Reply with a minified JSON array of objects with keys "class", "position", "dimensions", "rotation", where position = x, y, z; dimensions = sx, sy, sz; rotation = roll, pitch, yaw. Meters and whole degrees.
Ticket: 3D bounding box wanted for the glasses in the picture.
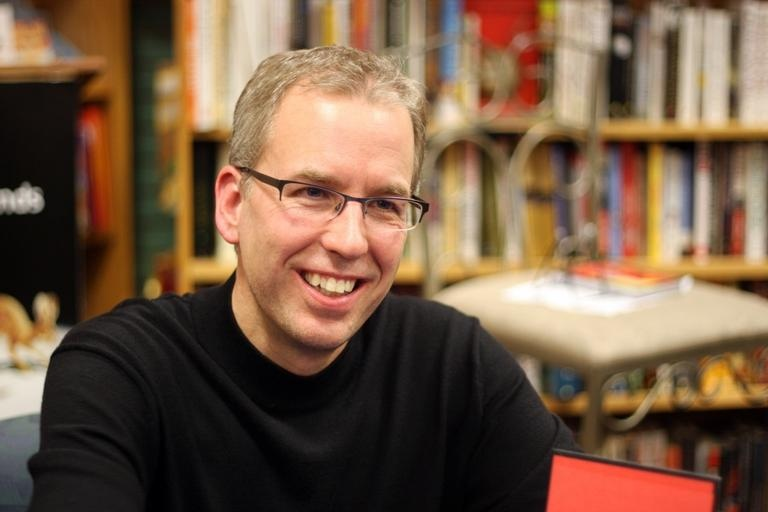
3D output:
[{"class":"glasses","position":[-0.163,-0.148,2.384],"dimensions":[0.454,0.140,0.140],"rotation":[3,5,-4]}]
